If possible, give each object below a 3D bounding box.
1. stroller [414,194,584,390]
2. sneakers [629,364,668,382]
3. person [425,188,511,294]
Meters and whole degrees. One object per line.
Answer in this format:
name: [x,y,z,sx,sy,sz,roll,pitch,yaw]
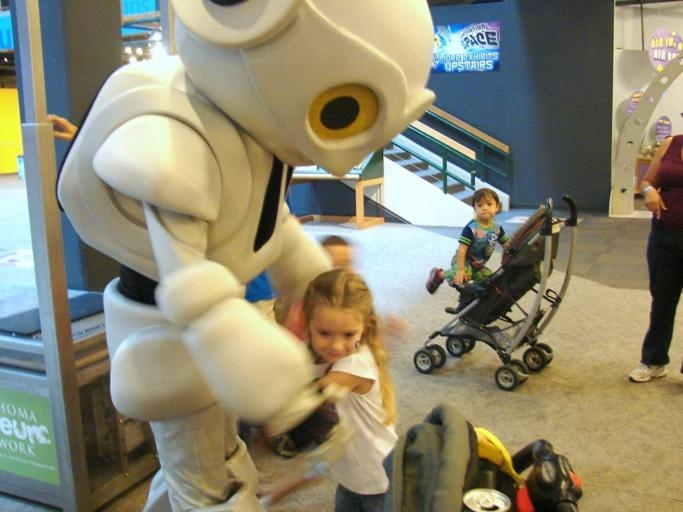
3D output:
stroller: [1.084,0.186,4.054,0.923,1.366,0.699,9,12,39]
sneakers: [2.060,0.767,3.853,0.261,0.129,0.105,-2,9,-8]
person: [1.018,-0.046,4.283,0.611,1.005,0.455,-2,17,-8]
